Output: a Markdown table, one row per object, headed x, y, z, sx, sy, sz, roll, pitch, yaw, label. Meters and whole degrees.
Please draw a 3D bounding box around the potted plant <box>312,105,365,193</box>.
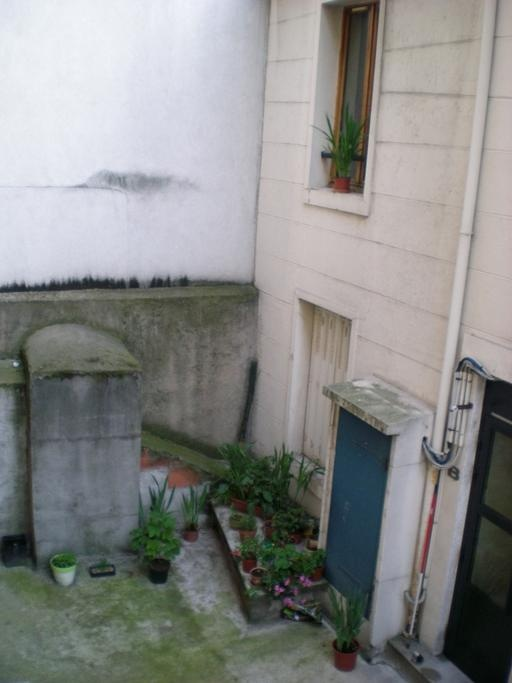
| x | y | z | sx | sy | sz | roll | pitch | yaw | label |
| --- | --- | --- | --- | --- | --- | --- | --- | --- | --- |
| 0.776 | -1.713 | 5.093 | 0.502 | 0.772 | 0.679 | 1 | 3 | -1 | potted plant |
